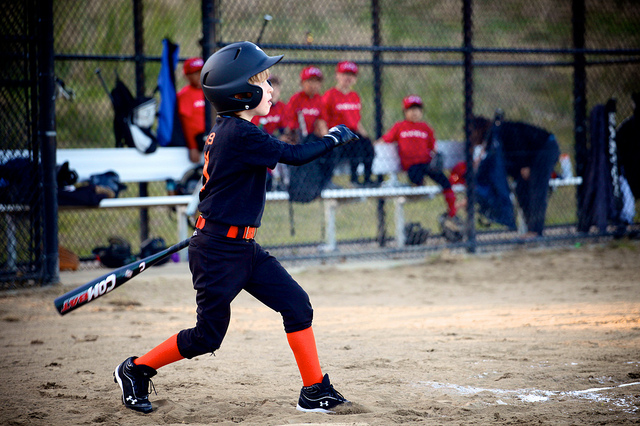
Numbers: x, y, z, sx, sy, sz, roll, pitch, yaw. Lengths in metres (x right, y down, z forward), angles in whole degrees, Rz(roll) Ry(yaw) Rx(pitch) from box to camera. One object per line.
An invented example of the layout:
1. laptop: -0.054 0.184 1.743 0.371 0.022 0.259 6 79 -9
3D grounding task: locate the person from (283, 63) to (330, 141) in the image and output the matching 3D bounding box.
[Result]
1. person: -0.134 -1.359 13.386 0.582 1.092 0.586 -7 24 -18

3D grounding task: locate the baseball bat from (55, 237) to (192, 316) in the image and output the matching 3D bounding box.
1. baseball bat: -2.236 0.719 11.613 1.394 0.173 0.163 -30 -28 -7

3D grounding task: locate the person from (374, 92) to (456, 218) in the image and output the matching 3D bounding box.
1. person: 1.247 -0.729 13.313 1.002 1.561 0.544 -1 2 16
